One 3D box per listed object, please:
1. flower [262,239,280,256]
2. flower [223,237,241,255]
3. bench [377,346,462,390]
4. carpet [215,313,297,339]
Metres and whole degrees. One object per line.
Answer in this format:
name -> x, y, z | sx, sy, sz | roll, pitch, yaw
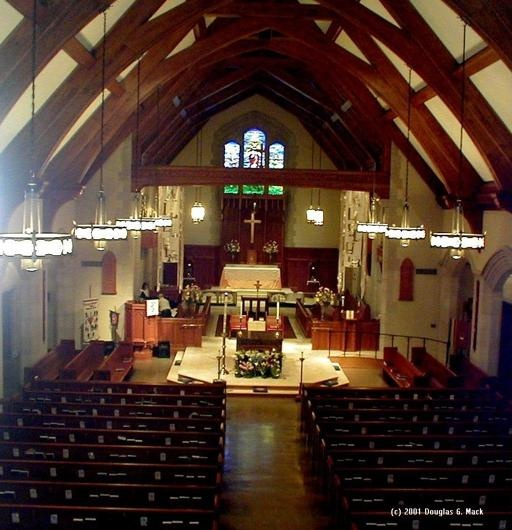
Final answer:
flower -> 0.686, -0.773, 24.056 | 0.622, 0.688, 0.644 | 0, -3, -1
flower -> -1.023, -0.841, 24.080 | 0.593, 0.689, 0.331 | -1, 4, 11
bench -> 3.879, 2.522, 13.146 | 1.071, 0.890, 2.703 | 2, -2, -3
carpet -> -0.015, 2.086, 18.467 | 2.692, 0.571, 3.692 | 2, -2, -2
